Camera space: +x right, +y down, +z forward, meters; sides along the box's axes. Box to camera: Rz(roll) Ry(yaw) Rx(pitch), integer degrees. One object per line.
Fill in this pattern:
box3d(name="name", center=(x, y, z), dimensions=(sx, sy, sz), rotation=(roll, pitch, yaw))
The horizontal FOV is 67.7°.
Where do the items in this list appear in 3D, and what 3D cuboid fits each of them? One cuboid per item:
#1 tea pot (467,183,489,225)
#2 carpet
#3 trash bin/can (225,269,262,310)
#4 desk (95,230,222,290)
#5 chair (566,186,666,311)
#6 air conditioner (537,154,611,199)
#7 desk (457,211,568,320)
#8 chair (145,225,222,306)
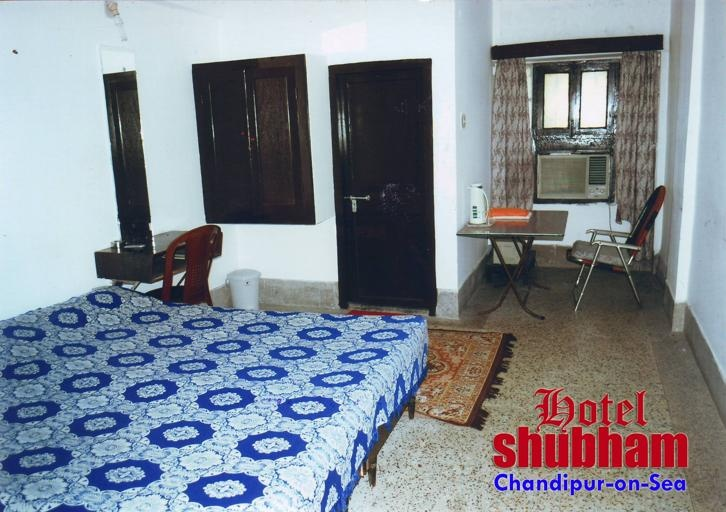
box3d(name="tea pot", center=(1.151, -0.525, 5.411), dimensions=(0.183, 0.398, 0.254), rotation=(-1, 14, 11))
box3d(name="carpet", center=(0.705, 0.903, 4.101), dimensions=(0.473, 0.039, 0.778), rotation=(2, 20, 24))
box3d(name="trash bin/can", center=(-1.138, 0.316, 5.475), dimensions=(0.440, 0.406, 0.396), rotation=(-1, 15, -9))
box3d(name="desk", center=(-1.661, 0.026, 4.417), dimensions=(0.739, 0.528, 0.841), rotation=(7, 17, 37))
box3d(name="chair", center=(2.628, -0.172, 5.745), dimensions=(0.860, 1.145, 1.491), rotation=(2, 14, 20))
box3d(name="air conditioner", center=(2.669, -1.002, 6.884), dimensions=(0.970, 0.605, 0.584), rotation=(2, 9, 22))
box3d(name="desk", center=(1.593, 0.036, 5.658), dimensions=(0.944, 0.890, 1.437), rotation=(2, 14, 21))
box3d(name="chair", center=(-1.478, 0.059, 4.402), dimensions=(0.494, 0.717, 0.507), rotation=(13, 22, 17))
